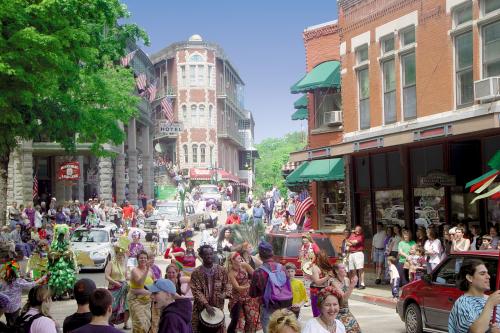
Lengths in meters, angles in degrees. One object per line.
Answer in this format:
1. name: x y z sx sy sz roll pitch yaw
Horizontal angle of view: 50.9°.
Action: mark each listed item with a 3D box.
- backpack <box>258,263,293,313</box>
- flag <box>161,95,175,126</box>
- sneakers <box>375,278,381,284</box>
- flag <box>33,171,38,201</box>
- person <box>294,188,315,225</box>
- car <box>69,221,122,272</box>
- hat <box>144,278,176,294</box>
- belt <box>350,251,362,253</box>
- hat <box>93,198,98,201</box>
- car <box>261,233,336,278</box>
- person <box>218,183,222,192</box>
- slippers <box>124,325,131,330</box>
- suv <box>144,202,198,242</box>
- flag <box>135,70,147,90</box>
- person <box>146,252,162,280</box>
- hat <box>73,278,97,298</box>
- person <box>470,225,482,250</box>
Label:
1. backpack: 0.583 2.788 12.169 0.769 0.992 0.295 1 -8 -6
2. flag: -10.149 -6.957 65.475 0.282 2.268 5.646 -35 -5 -11
3. sneakers: 5.234 4.726 21.541 0.206 0.223 0.258 -1 -8 10
4. flag: -14.051 1.281 34.474 0.310 1.751 2.721 4 -9 -24
5. person: 2.736 2.046 27.050 0.907 1.738 0.611 0 -8 5
6. car: -7.212 3.717 24.828 1.819 1.429 3.258 0 -6 3
7. hat: -1.649 2.272 9.915 0.429 0.221 0.294 8 -9 -6
8. belt: 4.141 3.389 20.823 0.362 0.098 0.085 -2 -8 14
9. hat: -10.064 2.185 34.332 0.215 0.206 0.261 1 2 -6
10. car: 1.714 3.394 20.339 1.507 1.393 2.667 -1 1 -6
11. person: -3.594 2.521 62.568 0.367 1.291 0.542 -4 4 28
12. slippers: -3.487 4.607 14.904 0.206 0.079 0.111 -5 -6 41
13. suv: -5.133 3.562 34.598 2.186 2.138 4.720 -2 -4 8
14. flag: -9.148 -7.391 44.223 0.689 1.890 3.256 2 -9 -13
15. person: -2.485 2.637 14.049 0.497 0.321 1.195 7 -37 3
16. hat: -3.081 2.273 9.872 0.303 0.247 0.443 2 9 4
17. person: 7.544 2.369 17.640 0.355 0.839 1.601 -3 -9 22
